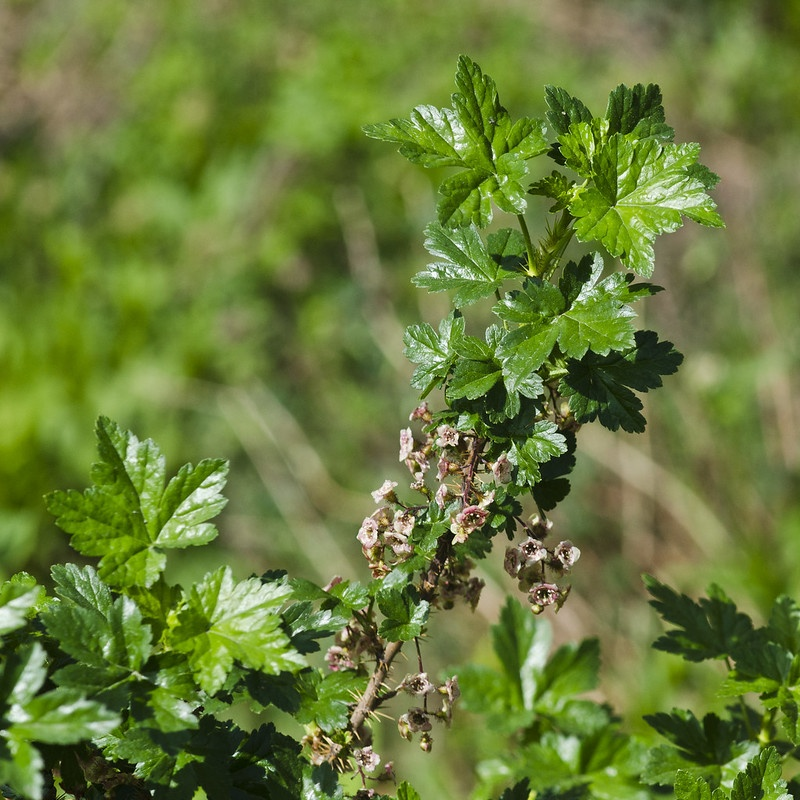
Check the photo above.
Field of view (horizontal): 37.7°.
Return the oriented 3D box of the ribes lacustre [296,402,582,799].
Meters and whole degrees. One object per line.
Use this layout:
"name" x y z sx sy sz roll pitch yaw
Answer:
"ribes lacustre" 0.118 0.265 1.910 0.372 0.197 0.652 29 99 23
